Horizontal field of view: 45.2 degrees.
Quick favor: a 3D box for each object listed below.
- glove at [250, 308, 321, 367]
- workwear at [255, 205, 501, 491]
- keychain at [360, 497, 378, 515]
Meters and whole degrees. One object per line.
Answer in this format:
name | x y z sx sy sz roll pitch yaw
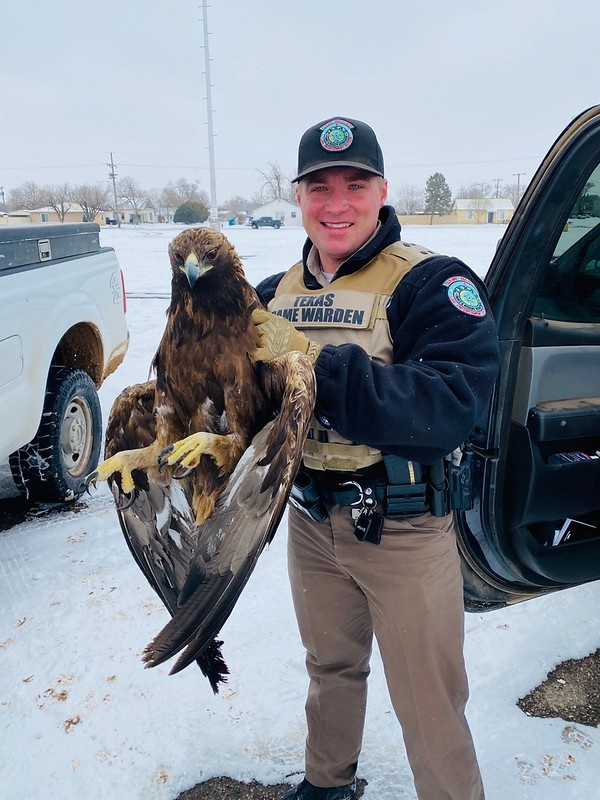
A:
glove | -0.051 -0.180 2.004 0.116 0.137 0.253 -14 17 -43
workwear | 0.108 -0.208 2.255 0.937 0.663 0.534 4 2 43
keychain | 0.208 0.311 2.138 0.052 0.048 0.015 3 9 2
